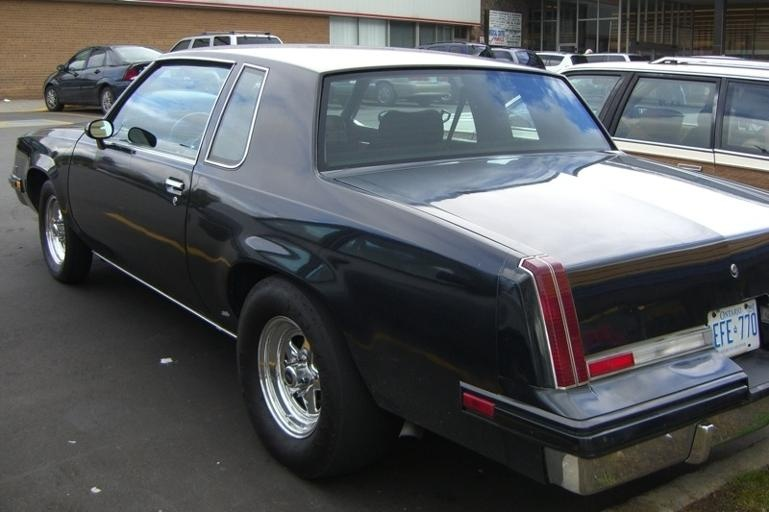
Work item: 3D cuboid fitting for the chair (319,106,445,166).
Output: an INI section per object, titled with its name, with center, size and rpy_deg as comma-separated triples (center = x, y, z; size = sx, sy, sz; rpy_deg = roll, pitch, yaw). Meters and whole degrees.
[chair]
center = -0.034, -0.687, 3.047
size = 0.385, 0.259, 0.652
rpy_deg = -7, 13, -41
